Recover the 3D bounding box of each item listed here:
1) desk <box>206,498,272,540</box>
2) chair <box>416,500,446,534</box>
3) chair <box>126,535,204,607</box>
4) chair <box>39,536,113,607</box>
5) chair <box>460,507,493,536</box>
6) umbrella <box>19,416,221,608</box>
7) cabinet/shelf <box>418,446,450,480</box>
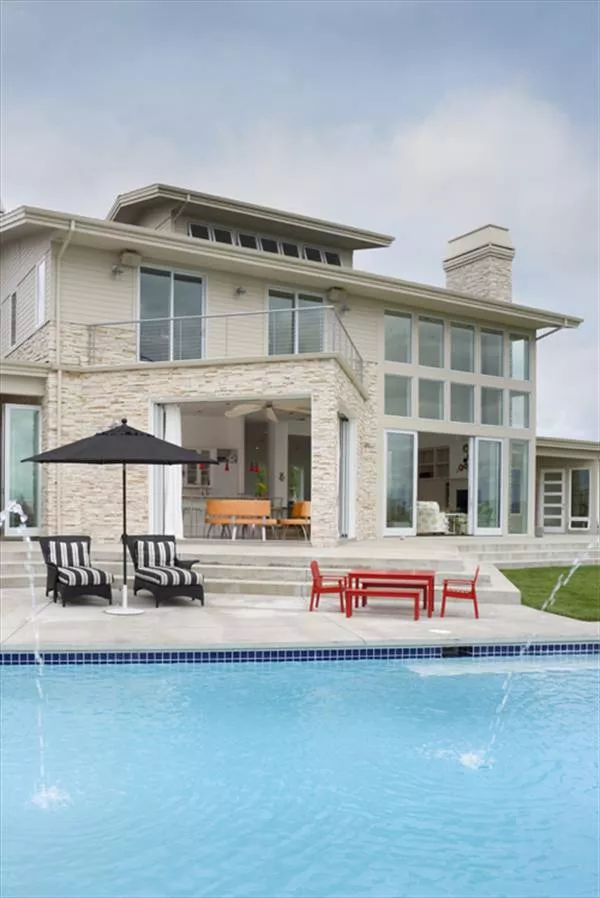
[{"bbox_3d":[-1.157,1.288,19.588,0.932,0.512,0.381,1,-3,-9],"label":"desk"},{"bbox_3d":[3.230,1.642,25.367,0.612,0.793,0.839,2,0,30],"label":"chair"},{"bbox_3d":[-1.728,1.541,13.523,0.806,0.770,1.091,0,-2,-26],"label":"chair"},{"bbox_3d":[-2.914,1.490,13.148,0.755,0.805,1.054,1,-2,-28],"label":"chair"},{"bbox_3d":[4.231,1.747,25.490,0.600,0.440,0.603,1,2,0],"label":"chair"},{"bbox_3d":[-2.383,0.772,13.146,2.424,2.301,2.460,-3,-3,32],"label":"umbrella"},{"bbox_3d":[4.008,0.386,31.312,0.323,0.834,0.972,5,-7,-24],"label":"cabinet/shelf"}]
